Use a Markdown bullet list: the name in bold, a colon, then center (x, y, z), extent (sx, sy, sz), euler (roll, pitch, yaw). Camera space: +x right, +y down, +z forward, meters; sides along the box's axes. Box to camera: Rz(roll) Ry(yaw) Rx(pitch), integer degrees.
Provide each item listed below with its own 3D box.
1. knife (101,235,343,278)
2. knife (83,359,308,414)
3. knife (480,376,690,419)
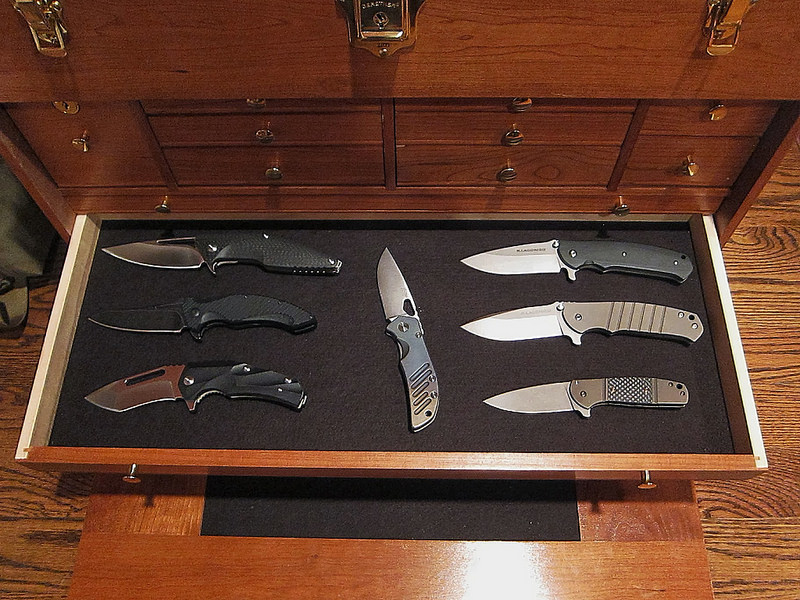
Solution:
- **knife**: center (-0.387, -0.098, 1.522), extent (0.560, 0.048, 0.088), euler (2, 51, -3)
- **knife**: center (-0.430, 0.189, 1.416), extent (0.460, 0.087, 0.087), euler (1, 45, -3)
- **knife**: center (0.387, 0.204, 1.396), extent (0.417, 0.064, 0.067), euler (0, 45, -4)
